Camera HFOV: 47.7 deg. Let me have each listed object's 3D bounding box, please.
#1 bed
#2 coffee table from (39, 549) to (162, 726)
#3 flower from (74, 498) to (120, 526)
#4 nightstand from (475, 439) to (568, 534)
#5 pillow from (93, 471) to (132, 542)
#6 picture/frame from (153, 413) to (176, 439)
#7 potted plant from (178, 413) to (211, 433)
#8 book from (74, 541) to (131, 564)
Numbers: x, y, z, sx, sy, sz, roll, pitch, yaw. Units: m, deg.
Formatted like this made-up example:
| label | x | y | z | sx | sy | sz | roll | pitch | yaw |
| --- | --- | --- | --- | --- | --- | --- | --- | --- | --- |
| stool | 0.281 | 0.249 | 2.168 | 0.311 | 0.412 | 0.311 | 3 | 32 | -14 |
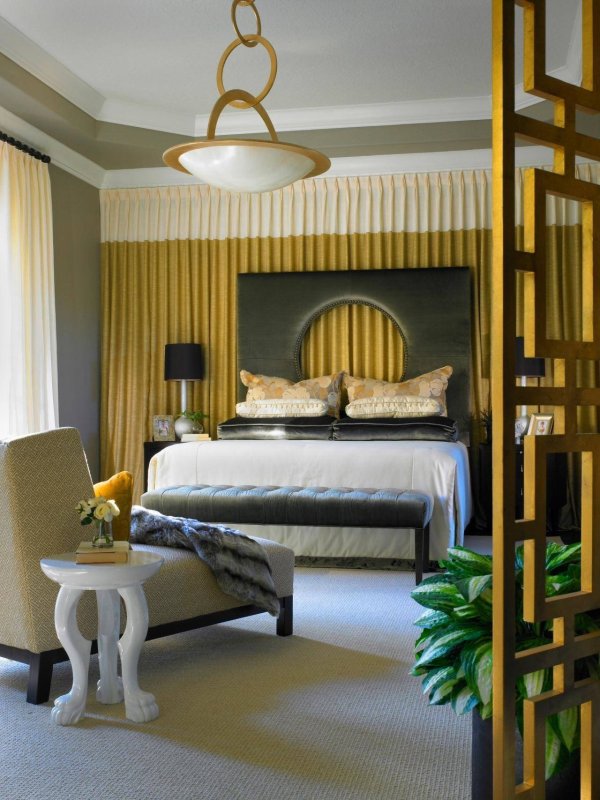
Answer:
| label | x | y | z | sx | sy | sz | roll | pitch | yaw |
| --- | --- | --- | --- | --- | --- | --- | --- | --- | --- |
| bed | 0.137 | 0.105 | 5.346 | 2.470 | 2.624 | 2.117 | 0 | -2 | 22 |
| coffee table | -0.578 | 0.672 | 1.956 | 0.319 | 0.458 | 0.425 | 2 | -4 | -21 |
| flower | -0.588 | 0.316 | 1.998 | 0.102 | 0.076 | 0.107 | 4 | 14 | -2 |
| nightstand | 1.648 | 0.676 | 5.192 | 0.734 | 0.760 | 0.858 | -1 | -4 | 22 |
| pillow | -0.646 | 0.372 | 2.417 | 0.083 | 0.223 | 0.201 | -1 | 2 | -40 |
| picture/frame | -1.213 | 0.237 | 6.079 | 0.195 | 0.243 | 0.032 | 1 | 1 | 10 |
| potted plant | -0.969 | 0.198 | 6.069 | 0.202 | 0.255 | 0.212 | -1 | 4 | -21 |
| book | -0.548 | 0.423 | 1.895 | 0.136 | 0.043 | 0.152 | 1 | -4 | -14 |
